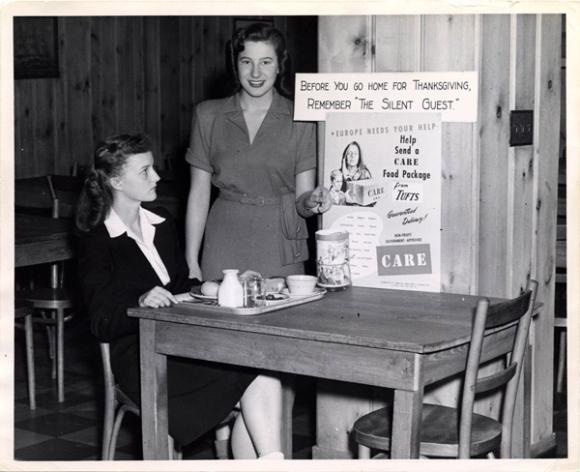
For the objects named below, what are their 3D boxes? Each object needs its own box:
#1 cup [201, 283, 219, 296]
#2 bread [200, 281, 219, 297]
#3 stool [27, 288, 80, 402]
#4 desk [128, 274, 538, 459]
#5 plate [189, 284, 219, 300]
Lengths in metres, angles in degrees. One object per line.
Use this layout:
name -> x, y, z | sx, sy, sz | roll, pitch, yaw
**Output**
cup -> -0.293, 0.187, 2.346 | 0.048, 0.033, 0.051 | 3, 0, 0
bread -> -0.289, 0.192, 2.343 | 0.051, 0.036, 0.054 | 3, 2, 25
stool -> -1.542, 0.679, 4.029 | 0.339, 0.466, 0.372 | -2, -10, -4
desk -> 0.095, 0.493, 2.265 | 1.085, 0.544, 0.671 | 1, 5, 28
plate -> -0.306, 0.198, 2.355 | 0.069, 0.030, 0.072 | -3, -2, 33
